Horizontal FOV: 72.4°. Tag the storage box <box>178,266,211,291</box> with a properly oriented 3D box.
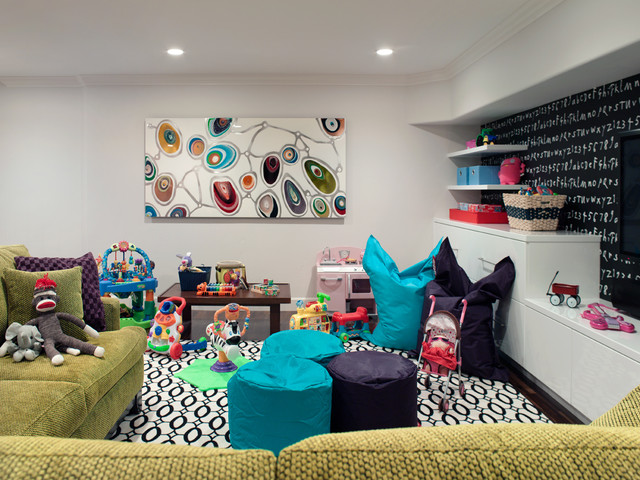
[{"bbox_3d":[-1.227,0.377,4.303,0.262,0.195,0.204,-2,-2,0],"label":"storage box"}]

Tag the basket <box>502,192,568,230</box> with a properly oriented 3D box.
[{"bbox_3d":[1.764,-0.196,3.604,0.346,0.270,0.490,-1,-6,14],"label":"basket"}]

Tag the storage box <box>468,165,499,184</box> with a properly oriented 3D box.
[{"bbox_3d":[1.636,-0.632,4.437,0.201,0.137,0.204,-1,2,-11],"label":"storage box"}]

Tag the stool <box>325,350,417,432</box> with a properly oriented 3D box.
[{"bbox_3d":[0.306,0.827,2.519,0.374,0.397,0.436,0,-7,-4],"label":"stool"}]

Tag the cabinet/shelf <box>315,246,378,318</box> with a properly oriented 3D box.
[{"bbox_3d":[0.258,0.473,4.547,0.539,0.796,0.411,-3,2,3],"label":"cabinet/shelf"}]

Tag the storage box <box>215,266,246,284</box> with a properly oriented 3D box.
[{"bbox_3d":[-0.869,0.342,4.329,0.193,0.224,0.223,0,1,25],"label":"storage box"}]

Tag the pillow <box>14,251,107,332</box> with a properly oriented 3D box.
[{"bbox_3d":[-1.648,0.341,2.774,0.170,0.479,0.423,-18,-16,24],"label":"pillow"}]

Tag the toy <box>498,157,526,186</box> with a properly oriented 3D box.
[{"bbox_3d":[1.807,-0.651,4.122,0.233,0.281,0.201,2,3,2],"label":"toy"}]

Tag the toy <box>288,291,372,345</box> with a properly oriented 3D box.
[{"bbox_3d":[0.024,0.714,4.119,0.903,0.569,0.344,3,-3,-22],"label":"toy"}]

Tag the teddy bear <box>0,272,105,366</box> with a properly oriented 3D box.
[{"bbox_3d":[-1.592,0.402,2.612,0.457,0.455,0.516,-5,-3,42],"label":"teddy bear"}]

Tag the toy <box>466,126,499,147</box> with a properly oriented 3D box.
[{"bbox_3d":[1.652,-1.030,4.384,0.214,0.124,0.313,10,24,38],"label":"toy"}]

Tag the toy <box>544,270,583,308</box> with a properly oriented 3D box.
[{"bbox_3d":[1.667,0.342,3.102,0.291,0.340,0.177,5,2,26],"label":"toy"}]

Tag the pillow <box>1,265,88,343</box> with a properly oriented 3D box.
[{"bbox_3d":[-1.671,0.398,2.635,0.143,0.416,0.402,-27,-20,36],"label":"pillow"}]

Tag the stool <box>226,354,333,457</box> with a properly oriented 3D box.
[{"bbox_3d":[-0.231,0.828,2.556,0.548,0.527,0.572,1,-3,-4],"label":"stool"}]
